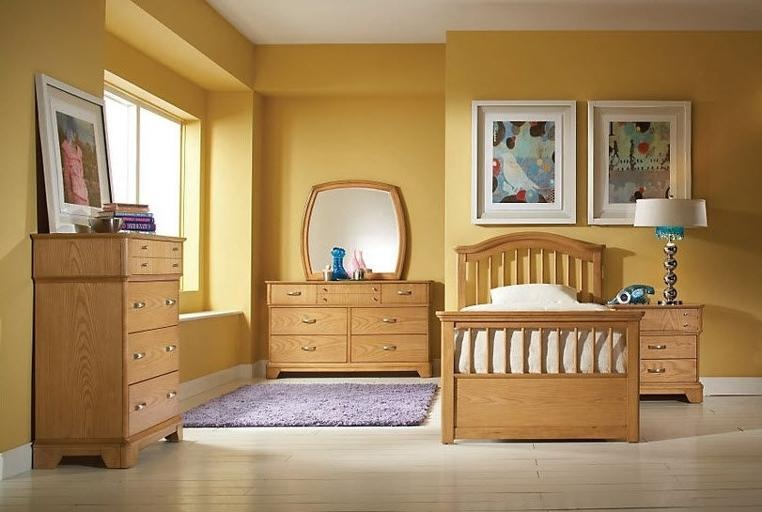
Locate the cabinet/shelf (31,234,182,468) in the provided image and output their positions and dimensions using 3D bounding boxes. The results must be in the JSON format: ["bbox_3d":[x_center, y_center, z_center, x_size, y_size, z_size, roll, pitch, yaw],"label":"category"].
[{"bbox_3d":[-1.737,0.577,3.882,0.899,1.438,0.491,-2,4,-22],"label":"cabinet/shelf"}]

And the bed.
[{"bbox_3d":[1.312,0.527,4.843,1.661,1.404,1.783,0,3,6],"label":"bed"}]

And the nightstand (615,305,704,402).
[{"bbox_3d":[2.560,0.897,5.431,0.540,0.820,0.779,24,-23,-38],"label":"nightstand"}]

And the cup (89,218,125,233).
[{"bbox_3d":[-1.755,-0.195,3.877,0.133,0.052,0.130,-1,2,0],"label":"cup"}]

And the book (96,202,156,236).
[{"bbox_3d":[-1.677,-0.232,3.960,0.271,0.146,0.271,-1,-1,38],"label":"book"}]

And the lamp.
[{"bbox_3d":[2.559,-0.048,5.448,0.572,0.922,0.512,1,4,16],"label":"lamp"}]

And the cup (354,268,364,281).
[{"bbox_3d":[-0.232,0.196,6.428,0.118,0.181,0.106,0,4,-6],"label":"cup"}]

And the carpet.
[{"bbox_3d":[-0.530,1.221,5.117,2.029,0.064,1.244,0,3,1],"label":"carpet"}]

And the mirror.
[{"bbox_3d":[-0.258,-0.256,6.583,1.281,1.010,0.084,0,2,3],"label":"mirror"}]
